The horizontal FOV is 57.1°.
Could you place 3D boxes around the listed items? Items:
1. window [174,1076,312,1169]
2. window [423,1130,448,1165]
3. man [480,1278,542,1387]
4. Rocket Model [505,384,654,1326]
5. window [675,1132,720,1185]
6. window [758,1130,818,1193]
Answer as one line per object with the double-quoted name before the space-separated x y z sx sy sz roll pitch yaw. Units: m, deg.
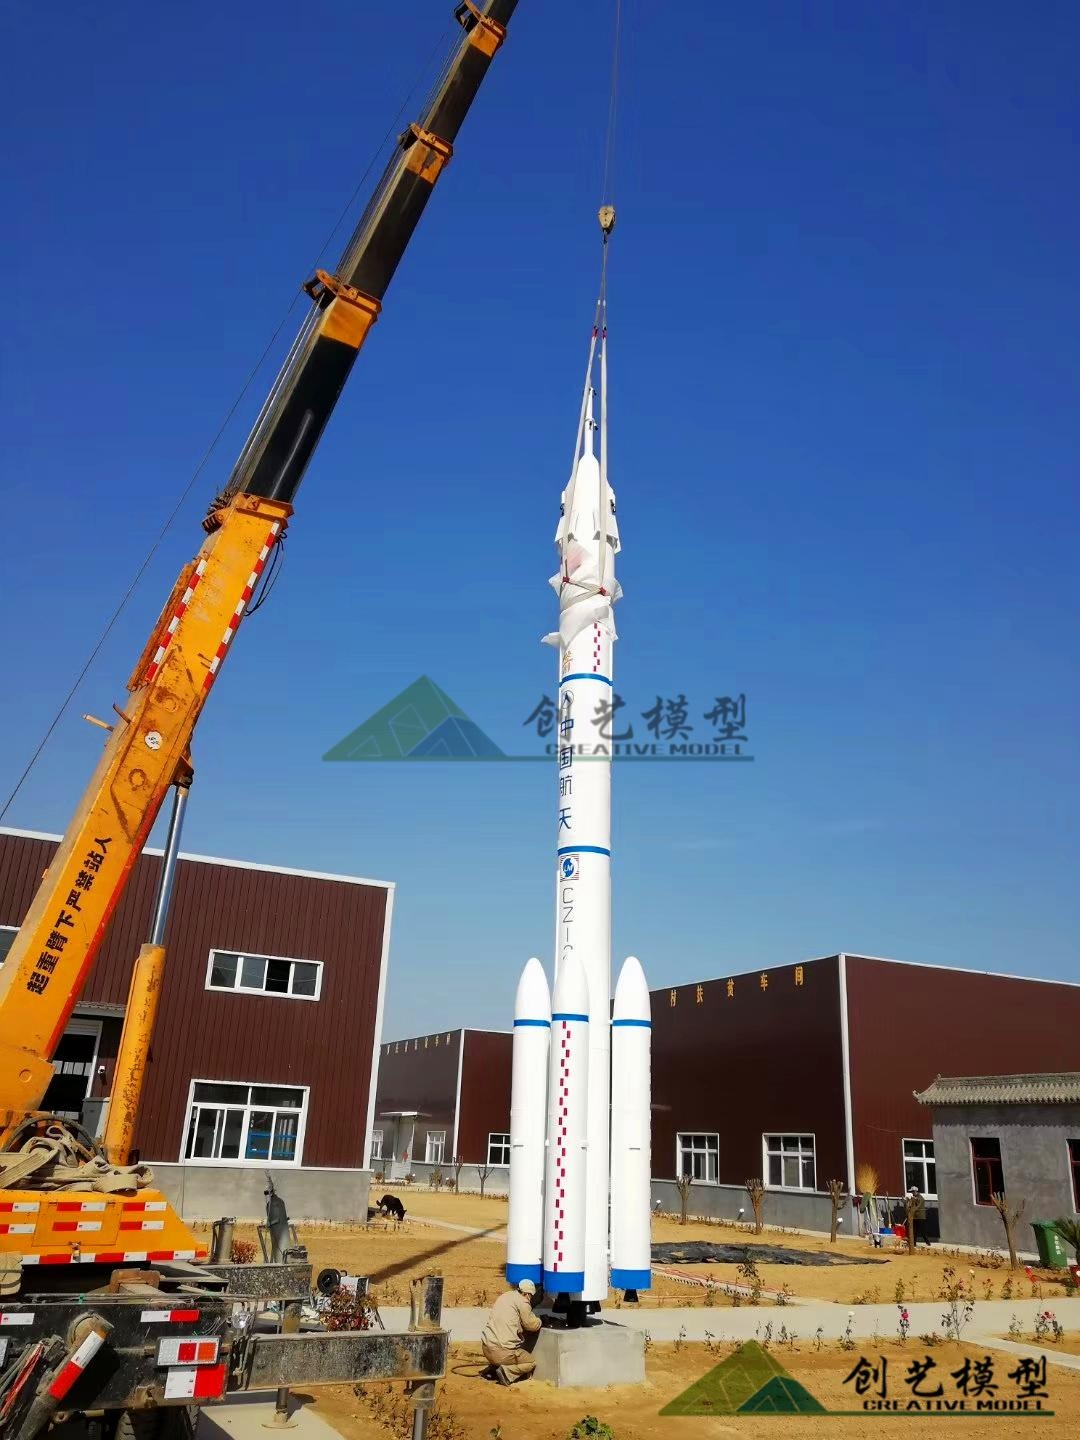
"window" -7.344 9.822 24.054 2.589 1.864 0.200 15 -39 -26
"window" -5.403 22.025 51.080 0.174 2.375 1.992 12 -24 -31
"man" -0.298 6.343 10.304 0.606 0.907 0.540 -11 -32 43
"Rocket Model" 0.540 0.702 12.882 1.542 12.376 1.424 0 -22 4
"window" 5.836 16.309 36.865 0.278 1.562 2.148 15 -27 -16
"window" 8.082 14.502 32.754 0.340 1.604 2.556 11 -24 -22
